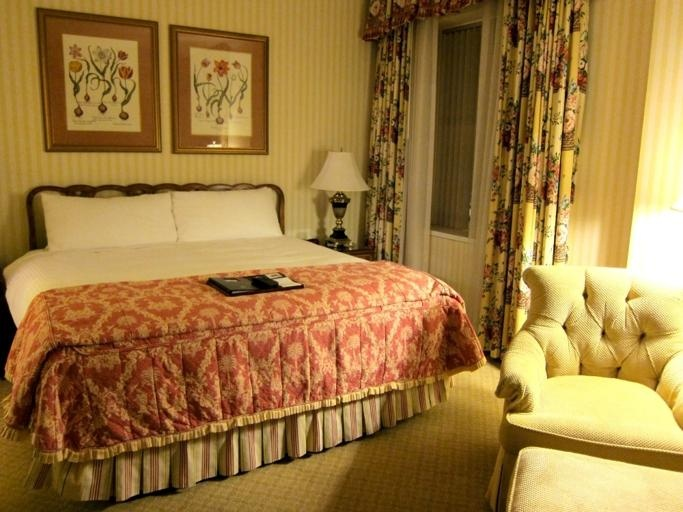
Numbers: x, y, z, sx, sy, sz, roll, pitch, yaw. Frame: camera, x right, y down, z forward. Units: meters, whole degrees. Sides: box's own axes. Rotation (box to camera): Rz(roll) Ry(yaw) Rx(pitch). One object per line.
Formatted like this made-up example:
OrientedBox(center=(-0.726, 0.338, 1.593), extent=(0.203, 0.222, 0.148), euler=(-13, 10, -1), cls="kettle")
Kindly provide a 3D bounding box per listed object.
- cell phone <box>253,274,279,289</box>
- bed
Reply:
OrientedBox(center=(-0.445, 0.139, 3.032), extent=(0.074, 0.033, 0.136), euler=(-2, 9, -25), cls="cell phone")
OrientedBox(center=(-0.851, 0.355, 3.514), extent=(2.500, 1.367, 2.386), euler=(-7, 14, -33), cls="bed")
